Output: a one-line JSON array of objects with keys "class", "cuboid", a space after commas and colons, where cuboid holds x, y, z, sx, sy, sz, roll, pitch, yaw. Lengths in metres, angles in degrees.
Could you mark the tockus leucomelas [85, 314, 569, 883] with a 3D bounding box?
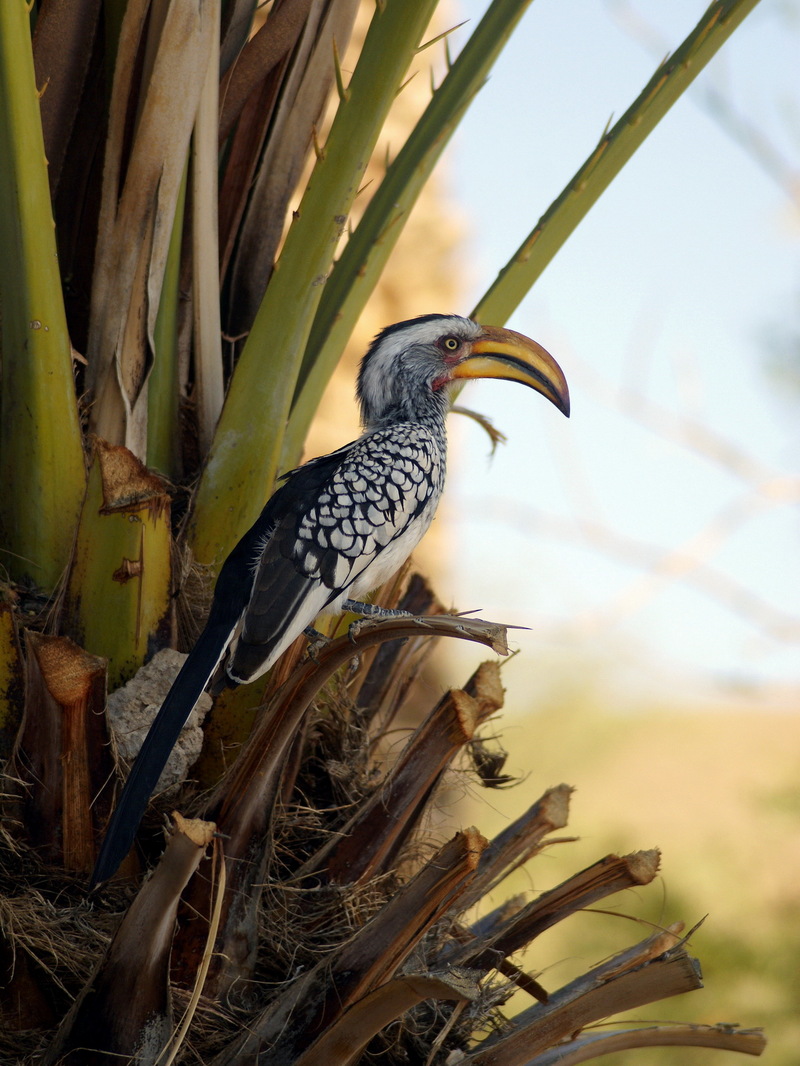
[{"class": "tockus leucomelas", "cuboid": [-0.116, 0.081, 2.316, 0.308, 1.086, 0.419, 44, -24, -24]}]
